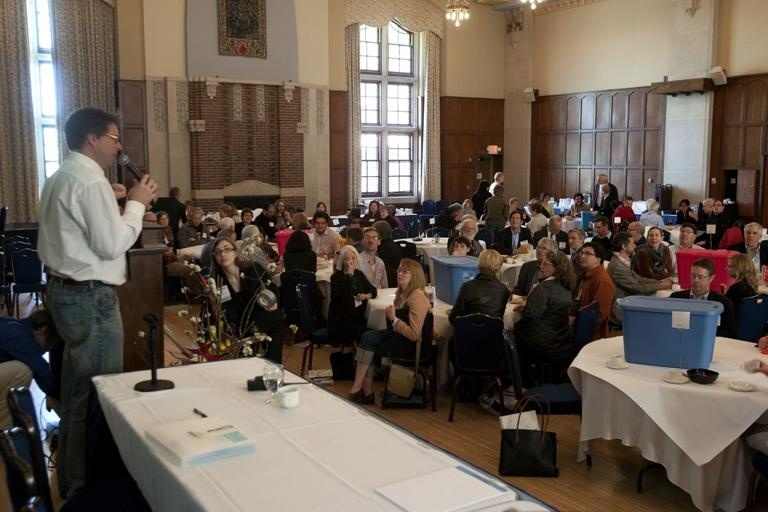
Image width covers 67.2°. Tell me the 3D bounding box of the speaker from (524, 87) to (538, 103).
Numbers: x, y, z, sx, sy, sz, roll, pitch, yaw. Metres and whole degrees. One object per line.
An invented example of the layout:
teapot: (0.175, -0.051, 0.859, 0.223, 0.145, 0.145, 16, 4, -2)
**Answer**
speaker: (4.706, -5.182, 18.596, 0.411, 0.454, 0.415, 2, 2, 33)

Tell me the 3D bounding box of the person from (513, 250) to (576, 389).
person: (1.570, 0.645, 5.654, 0.555, 1.399, 0.330, 5, 10, 19)

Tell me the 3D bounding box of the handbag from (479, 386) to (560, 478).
handbag: (1.112, 1.428, 4.681, 0.690, 0.902, 0.365, 0, 4, -2)

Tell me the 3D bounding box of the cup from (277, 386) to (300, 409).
cup: (-0.505, 0.730, 3.027, 0.088, 0.075, 0.093, 2, -1, 0)

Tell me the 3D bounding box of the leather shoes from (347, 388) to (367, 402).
leather shoes: (-0.257, 1.364, 5.820, 0.121, 0.143, 0.353, -1, -8, 20)

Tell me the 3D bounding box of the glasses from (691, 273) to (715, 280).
glasses: (2.901, 0.169, 5.252, 0.182, 0.067, 0.140, 5, 10, 19)

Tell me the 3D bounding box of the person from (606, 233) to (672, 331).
person: (2.996, 0.410, 6.783, 0.750, 1.372, 0.465, -1, 11, 15)

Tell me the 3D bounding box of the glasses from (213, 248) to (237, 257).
glasses: (-1.362, -0.046, 4.955, 0.168, 0.069, 0.082, -1, 10, -14)

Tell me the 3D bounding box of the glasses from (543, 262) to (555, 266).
glasses: (1.598, 0.061, 5.586, 0.086, 0.043, 0.020, 3, 10, 9)

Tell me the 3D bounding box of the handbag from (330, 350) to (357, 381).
handbag: (-0.448, 1.215, 6.419, 0.316, 0.353, 0.082, -3, -5, -7)

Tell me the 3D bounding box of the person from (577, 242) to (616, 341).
person: (2.247, 0.359, 6.117, 0.330, 0.958, 0.513, 0, 10, -11)

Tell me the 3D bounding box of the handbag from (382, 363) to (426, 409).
handbag: (0.207, 1.277, 5.698, 0.243, 0.427, 0.418, -2, 6, -34)
